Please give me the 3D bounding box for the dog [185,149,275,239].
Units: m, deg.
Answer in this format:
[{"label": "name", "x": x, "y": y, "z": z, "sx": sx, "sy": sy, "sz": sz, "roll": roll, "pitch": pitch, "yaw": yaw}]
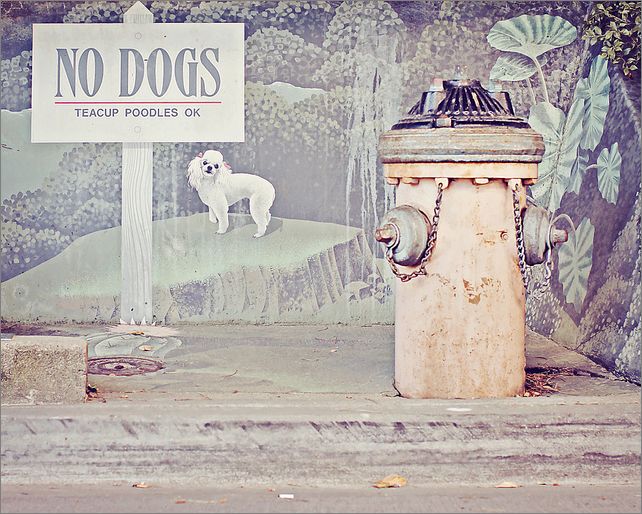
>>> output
[{"label": "dog", "x": -0.886, "y": -0.627, "z": 12.832, "sx": 1.052, "sy": 0.965, "sz": 0.527, "roll": 8, "pitch": 11, "yaw": 2}]
